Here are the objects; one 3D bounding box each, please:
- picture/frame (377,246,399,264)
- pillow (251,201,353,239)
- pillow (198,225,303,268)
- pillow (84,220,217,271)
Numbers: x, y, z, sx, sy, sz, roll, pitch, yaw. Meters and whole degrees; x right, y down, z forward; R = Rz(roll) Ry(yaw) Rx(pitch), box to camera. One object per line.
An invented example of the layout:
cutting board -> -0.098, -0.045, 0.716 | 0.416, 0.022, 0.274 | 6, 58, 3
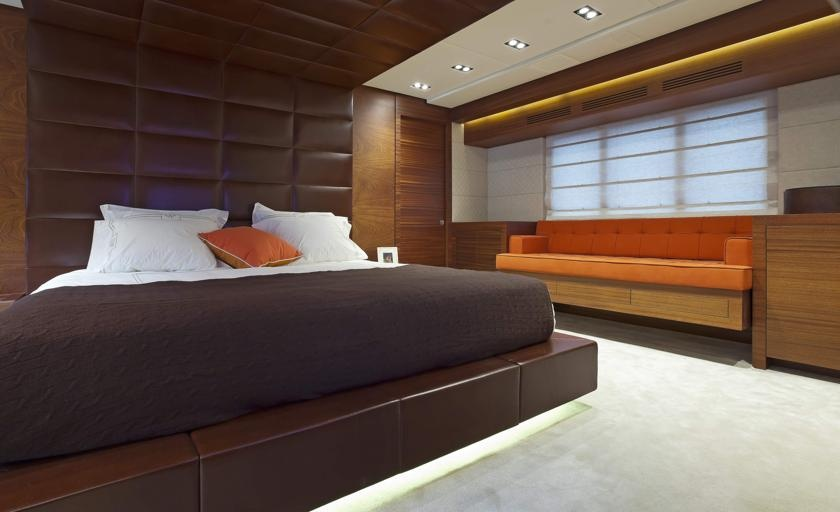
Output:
picture/frame -> -0.397, -0.014, 5.521 | 0.254, 0.210, 0.010 | 0, -8, -40
pillow -> -1.162, -0.339, 4.390 | 0.576, 0.333, 0.061 | 1, -16, -29
pillow -> -1.416, -0.091, 3.740 | 0.448, 0.150, 0.507 | 29, 15, 38
pillow -> -2.021, -0.060, 3.512 | 0.700, 0.520, 0.166 | -2, -34, -20
